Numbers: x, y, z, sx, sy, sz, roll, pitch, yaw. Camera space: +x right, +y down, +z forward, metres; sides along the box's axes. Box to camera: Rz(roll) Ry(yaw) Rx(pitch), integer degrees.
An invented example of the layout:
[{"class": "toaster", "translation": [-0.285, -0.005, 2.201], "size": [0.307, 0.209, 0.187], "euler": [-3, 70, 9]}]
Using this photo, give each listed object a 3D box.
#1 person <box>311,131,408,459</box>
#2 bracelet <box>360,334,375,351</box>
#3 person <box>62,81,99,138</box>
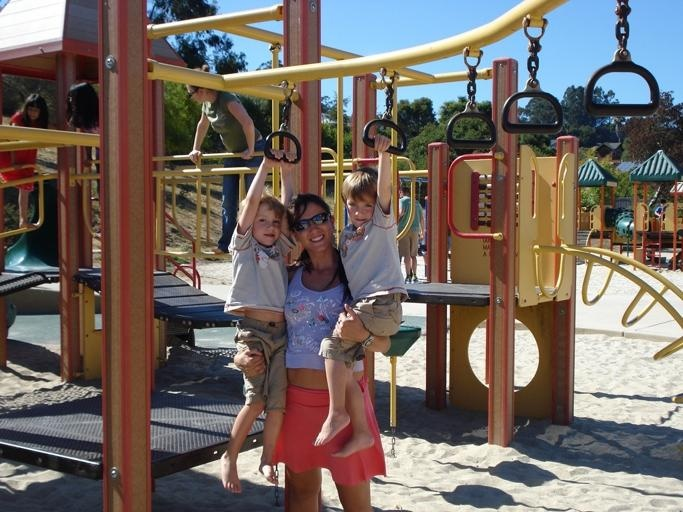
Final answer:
[{"class": "person", "translation": [0.102, 0.243, 5.955], "size": [0.662, 1.953, 0.435], "euler": [-8, 12, -41]}, {"class": "bracelet", "translation": [0.173, 0.546, 5.944], "size": [0.090, 0.103, 0.059], "euler": [37, 15, 35]}, {"class": "person", "translation": [-2.280, -1.265, 8.254], "size": [0.273, 0.464, 1.291], "euler": [-3, 10, -16]}]
